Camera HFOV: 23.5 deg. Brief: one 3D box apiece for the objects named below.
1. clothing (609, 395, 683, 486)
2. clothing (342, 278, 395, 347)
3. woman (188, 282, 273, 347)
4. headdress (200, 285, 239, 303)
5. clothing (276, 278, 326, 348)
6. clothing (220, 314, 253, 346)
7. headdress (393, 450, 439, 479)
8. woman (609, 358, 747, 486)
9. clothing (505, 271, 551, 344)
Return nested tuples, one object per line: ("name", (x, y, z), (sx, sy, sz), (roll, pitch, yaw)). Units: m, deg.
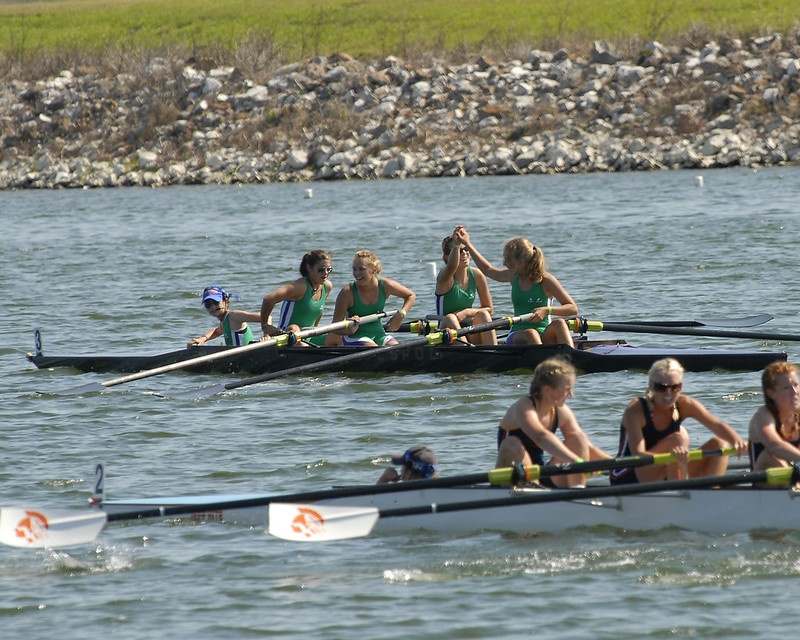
("clothing", (3.981, 2.214, 31.516), (1.131, 1.751, 1.273), (11, -19, 4))
("clothing", (-0.544, -0.117, 36.042), (0.670, 1.455, 0.829), (6, -30, -20))
("woman", (-3.295, -0.011, 36.380), (1.122, 1.846, 1.347), (-7, -4, -30))
("headdress", (-3.405, -0.486, 35.947), (0.634, 0.274, 0.378), (-9, 16, -16))
("clothing", (-1.799, -0.188, 36.205), (0.616, 1.149, 0.692), (14, 1, 38))
("clothing", (-3.099, 0.187, 36.041), (0.304, 0.552, 0.404), (-15, -7, -46))
("headdress", (0.235, 2.322, 31.107), (0.605, 0.353, 0.426), (23, 21, 20))
("woman", (4.313, 1.658, 30.966), (1.983, 1.979, 0.690), (-3, 16, 5))
("clothing", (2.425, -0.164, 35.958), (0.856, 1.251, 0.688), (5, 17, 13))
